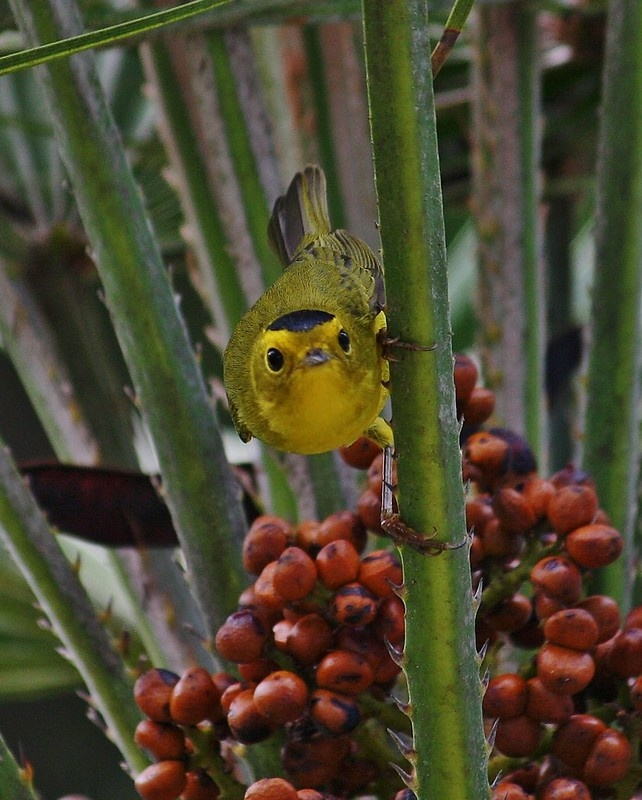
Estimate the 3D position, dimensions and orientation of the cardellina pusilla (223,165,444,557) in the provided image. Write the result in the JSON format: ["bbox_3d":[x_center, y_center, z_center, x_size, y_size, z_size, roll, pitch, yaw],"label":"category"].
[{"bbox_3d":[-0.011,-0.018,1.011,0.148,0.277,0.186,-5,4,23],"label":"cardellina pusilla"}]
